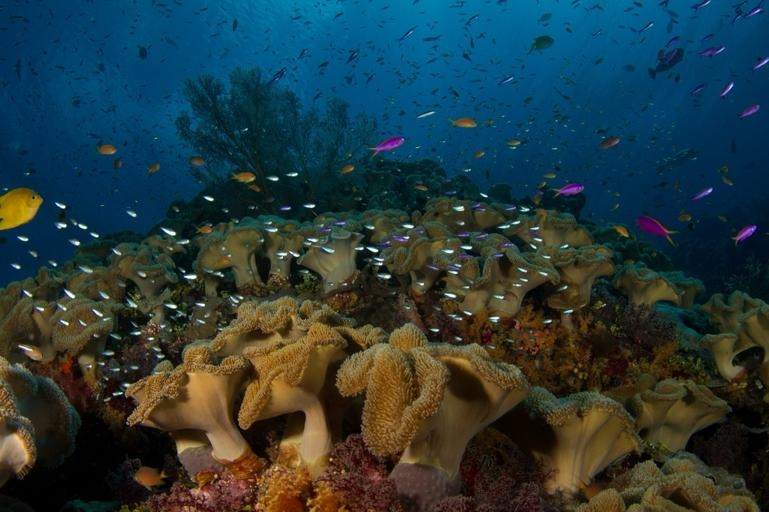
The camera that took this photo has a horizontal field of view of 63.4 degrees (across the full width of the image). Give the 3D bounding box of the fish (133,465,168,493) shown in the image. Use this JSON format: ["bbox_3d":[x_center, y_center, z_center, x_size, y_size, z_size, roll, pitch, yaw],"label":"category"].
[{"bbox_3d":[-4.485,4.243,11.962,0.603,0.243,0.417,12,40,10],"label":"fish"}]
